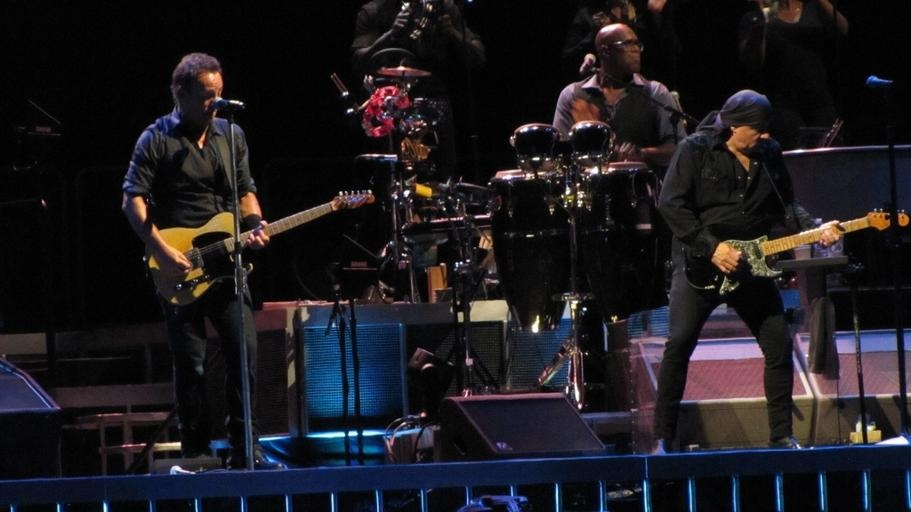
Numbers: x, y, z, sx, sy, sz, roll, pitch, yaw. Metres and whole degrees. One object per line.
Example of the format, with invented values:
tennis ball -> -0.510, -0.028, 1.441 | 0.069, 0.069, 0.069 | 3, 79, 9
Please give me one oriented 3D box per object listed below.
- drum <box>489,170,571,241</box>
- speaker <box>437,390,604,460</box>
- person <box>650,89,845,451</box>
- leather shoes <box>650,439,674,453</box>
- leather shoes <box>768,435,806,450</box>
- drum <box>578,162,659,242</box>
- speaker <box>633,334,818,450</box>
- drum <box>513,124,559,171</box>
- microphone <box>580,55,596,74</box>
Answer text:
drum -> 0.631, -0.496, 10.548 | 0.667, 0.448, 0.620 | 0, -13, 0
speaker -> 0.474, 1.300, 9.013 | 1.230, 0.405, 0.420 | -4, -2, 1
person -> 2.167, 0.094, 9.351 | 1.237, 2.577, 0.563 | -5, -2, 13
leather shoes -> 1.609, 1.509, 9.218 | 0.156, 0.136, 0.145 | 8, -12, -36
leather shoes -> 2.595, 1.449, 8.990 | 0.338, 0.124, 0.124 | -7, -2, 33
drum -> 1.470, -0.484, 10.392 | 0.721, 0.559, 0.678 | 0, -2, 0
speaker -> 2.281, 1.223, 10.166 | 1.579, 1.331, 0.843 | 0, -12, 1
drum -> 0.702, -0.934, 10.360 | 0.444, 0.365, 0.425 | 0, -17, 1
microphone -> 1.220, -1.797, 10.809 | 0.133, 0.159, 0.228 | -4, -2, 5
